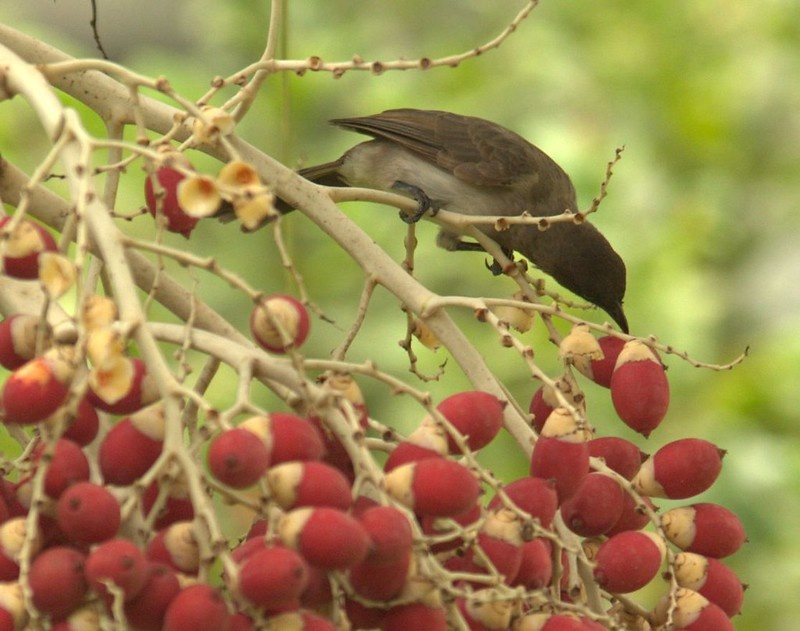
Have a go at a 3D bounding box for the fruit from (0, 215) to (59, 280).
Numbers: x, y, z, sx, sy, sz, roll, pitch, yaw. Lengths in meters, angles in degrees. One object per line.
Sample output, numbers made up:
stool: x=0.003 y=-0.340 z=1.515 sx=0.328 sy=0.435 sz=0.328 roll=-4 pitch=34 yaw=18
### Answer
fruit: x=-0.310 y=-0.055 z=1.096 sx=0.036 sy=0.052 sz=0.044 roll=27 pitch=-25 yaw=-15

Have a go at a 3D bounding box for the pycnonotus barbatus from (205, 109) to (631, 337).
pycnonotus barbatus: x=0.046 y=-0.184 z=1.829 sx=0.638 sy=0.218 sz=0.185 roll=22 pitch=-2 yaw=19
